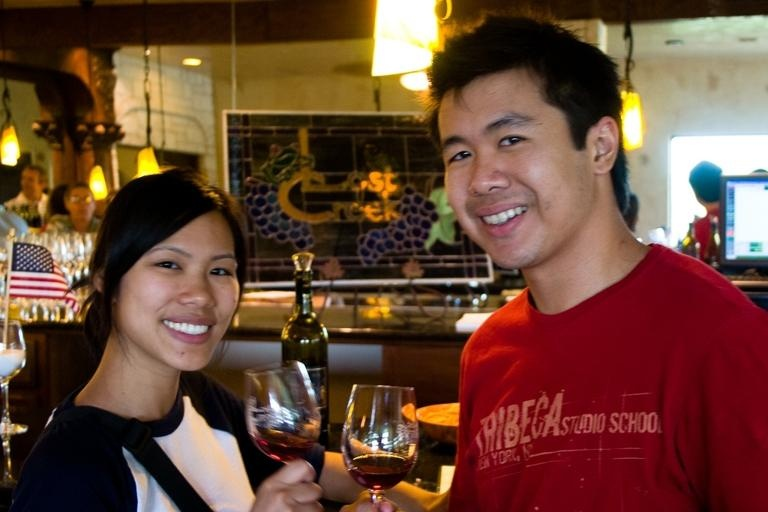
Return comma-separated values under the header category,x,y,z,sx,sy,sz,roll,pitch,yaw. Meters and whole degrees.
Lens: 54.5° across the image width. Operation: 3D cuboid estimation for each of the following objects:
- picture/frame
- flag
category,x,y,z,sx,sy,sz,roll,pitch,yaw
picture/frame,-0.162,-0.265,3.364,1.002,0.600,0.017,-1,-3,-1
flag,-1.726,0.131,3.747,0.477,0.439,0.053,2,-16,-40
